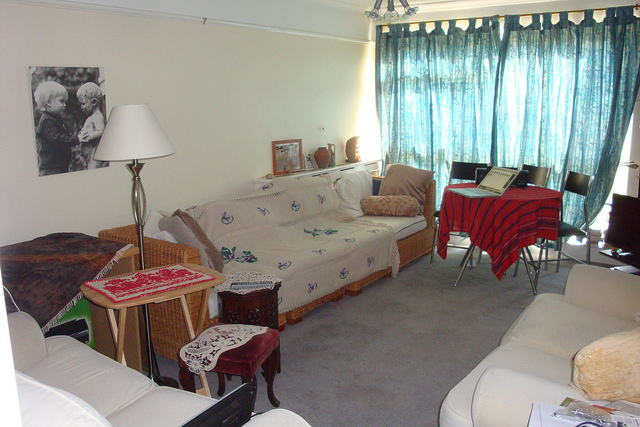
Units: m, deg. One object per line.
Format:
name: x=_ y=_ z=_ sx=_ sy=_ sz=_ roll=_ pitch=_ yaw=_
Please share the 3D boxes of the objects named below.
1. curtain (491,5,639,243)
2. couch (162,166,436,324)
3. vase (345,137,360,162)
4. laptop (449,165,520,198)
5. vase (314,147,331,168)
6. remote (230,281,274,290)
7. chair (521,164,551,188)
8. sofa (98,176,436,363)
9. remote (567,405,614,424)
curtain: x=3.041 y=-1.203 z=5.916 sx=1.563 sy=2.574 sz=0.537 roll=8 pitch=20 yaw=34
couch: x=0.124 y=0.247 z=5.083 sx=2.802 sy=1.128 sz=0.998 roll=-18 pitch=22 yaw=-40
vase: x=0.467 y=-0.918 z=6.715 sx=0.186 sy=0.339 sz=0.094 roll=-1 pitch=16 yaw=8
laptop: x=1.772 y=-0.356 z=5.064 sx=0.666 sy=0.225 sz=0.543 roll=-18 pitch=22 yaw=-41
vase: x=0.039 y=-0.766 z=6.216 sx=0.225 sy=0.276 sz=0.229 roll=-16 pitch=23 yaw=-36
remote: x=-0.543 y=0.558 z=3.746 sx=0.338 sy=0.062 sz=0.074 roll=-5 pitch=16 yaw=-3
chair: x=2.536 y=-0.444 z=5.476 sx=0.226 sy=0.202 sz=0.462 roll=-3 pitch=16 yaw=2
sofa: x=-0.232 y=0.307 z=5.336 sx=1.415 sy=1.227 sz=3.950 roll=4 pitch=12 yaw=39
remote: x=1.322 y=0.978 z=2.309 sx=0.218 sy=0.030 sz=0.167 roll=1 pitch=3 yaw=25
